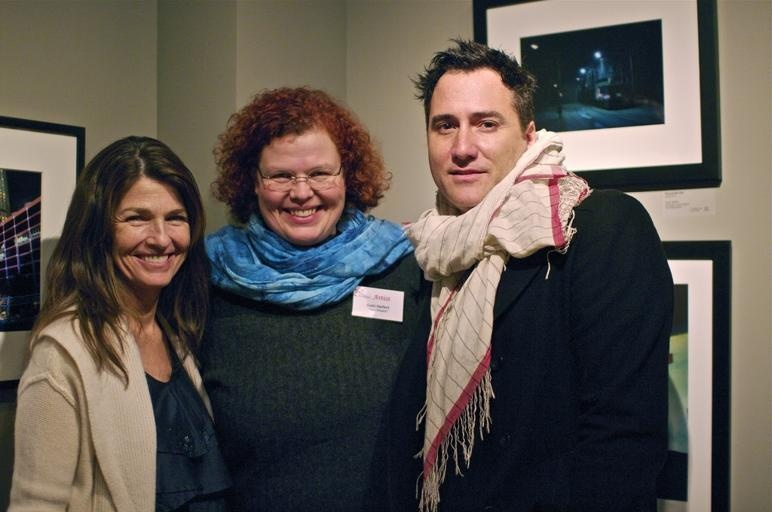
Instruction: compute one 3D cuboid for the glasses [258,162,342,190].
[{"bbox_3d":[-0.350,-0.300,3.067,0.330,0.086,0.078,-4,5,-8],"label":"glasses"}]
